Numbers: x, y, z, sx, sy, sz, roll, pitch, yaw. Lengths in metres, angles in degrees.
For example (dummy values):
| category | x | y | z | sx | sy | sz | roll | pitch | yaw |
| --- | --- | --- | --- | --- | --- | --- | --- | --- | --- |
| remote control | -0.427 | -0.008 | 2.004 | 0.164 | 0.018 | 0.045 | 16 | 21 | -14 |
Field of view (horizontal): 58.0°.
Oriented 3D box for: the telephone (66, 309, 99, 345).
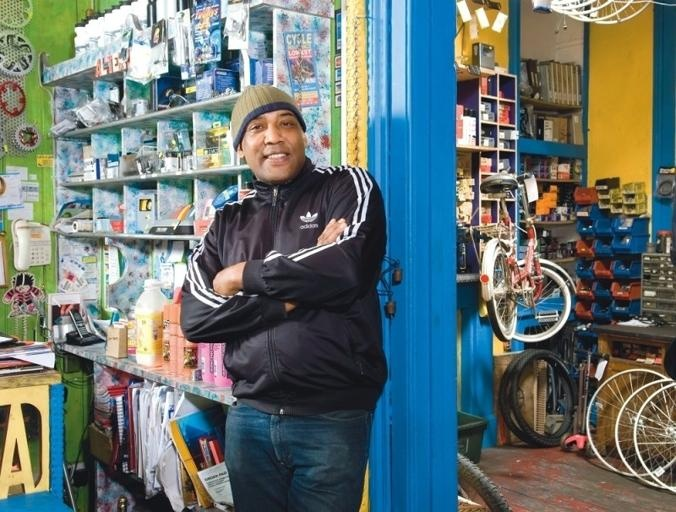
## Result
| category | x | y | z | sx | sy | sz | roll | pitch | yaw |
| --- | --- | --- | --- | --- | --- | --- | --- | --- | --- |
| telephone | -1.875 | 0.544 | 4.541 | 0.219 | 0.268 | 0.276 | 1 | 0 | -7 |

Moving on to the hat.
| category | x | y | z | sx | sy | sz | roll | pitch | yaw |
| --- | --- | --- | --- | --- | --- | --- | --- | --- | --- |
| hat | -0.336 | -0.636 | 2.701 | 0.232 | 0.250 | 0.270 | -11 | 4 | -9 |
